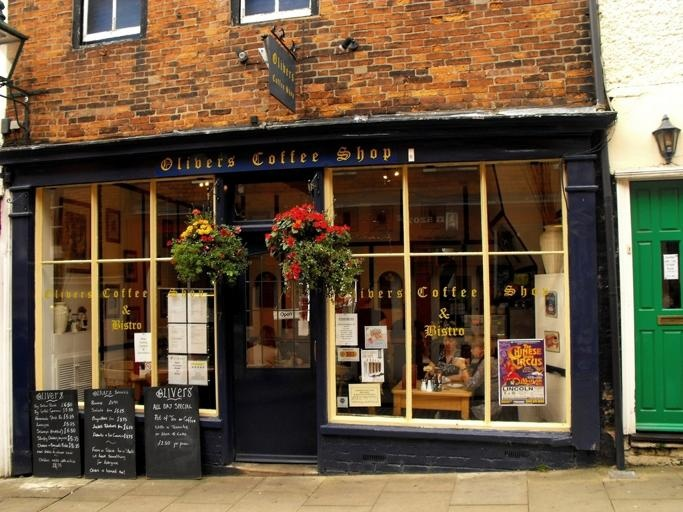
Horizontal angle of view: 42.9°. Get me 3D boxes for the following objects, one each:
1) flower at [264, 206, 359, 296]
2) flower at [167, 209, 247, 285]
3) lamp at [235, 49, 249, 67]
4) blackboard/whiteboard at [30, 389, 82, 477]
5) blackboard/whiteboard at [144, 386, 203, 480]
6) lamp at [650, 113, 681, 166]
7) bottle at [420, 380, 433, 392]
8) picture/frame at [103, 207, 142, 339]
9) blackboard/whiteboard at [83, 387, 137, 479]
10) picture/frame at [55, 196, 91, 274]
[{"bbox_3d":[-0.407,-0.087,11.928,1.000,1.411,0.884,1,-3,11],"label":"flower"},{"bbox_3d":[-1.916,-0.059,12.615,1.137,1.134,0.958,2,3,-42],"label":"flower"},{"bbox_3d":[-1.454,-2.934,12.768,0.171,0.232,0.174,-2,-5,-2],"label":"lamp"},{"bbox_3d":[-4.283,2.657,13.052,0.767,1.273,0.094,-4,-6,13],"label":"blackboard/whiteboard"},{"bbox_3d":[-2.463,2.560,12.621,0.788,1.312,0.059,-3,-6,5],"label":"blackboard/whiteboard"},{"bbox_3d":[4.455,-1.592,11.864,0.378,0.683,0.144,-4,-6,14],"label":"lamp"},{"bbox_3d":[1.218,1.849,12.292,0.197,0.177,0.112,-1,-6,14],"label":"bottle"},{"bbox_3d":[-3.325,0.243,13.238,0.864,2.350,0.138,-4,-6,18],"label":"picture/frame"},{"bbox_3d":[-3.451,2.562,12.944,0.756,1.344,0.645,0,1,-29],"label":"blackboard/whiteboard"},{"bbox_3d":[-4.205,-0.328,13.505,0.446,1.159,0.366,1,-1,-17],"label":"picture/frame"}]
